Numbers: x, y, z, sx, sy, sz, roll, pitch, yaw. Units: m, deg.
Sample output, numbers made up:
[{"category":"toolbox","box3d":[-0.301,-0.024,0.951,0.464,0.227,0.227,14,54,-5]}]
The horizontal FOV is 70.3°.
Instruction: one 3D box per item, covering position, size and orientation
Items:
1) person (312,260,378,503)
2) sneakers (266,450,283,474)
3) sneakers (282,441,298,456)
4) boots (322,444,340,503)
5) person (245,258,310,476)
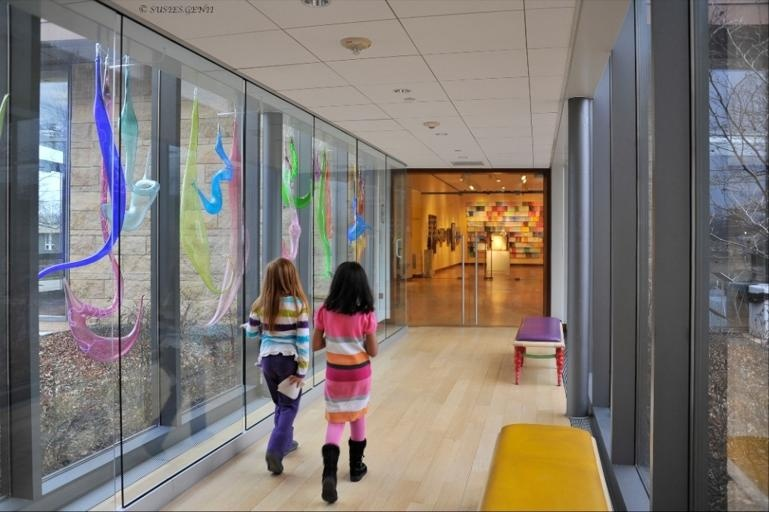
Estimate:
[{"category":"person","box3d":[-0.329,0.931,4.206,0.574,1.756,0.275,-5,3,-40]},{"category":"sneakers","box3d":[-0.889,1.645,4.416,0.088,0.233,0.099,-3,12,4]},{"category":"sneakers","box3d":[-0.814,1.672,4.761,0.070,0.073,0.198,5,12,20]},{"category":"boots","box3d":[-0.406,1.612,4.118,0.129,0.414,0.283,-3,2,2]},{"category":"person","box3d":[-0.858,0.890,4.477,0.497,1.737,0.282,-4,2,-14]}]
